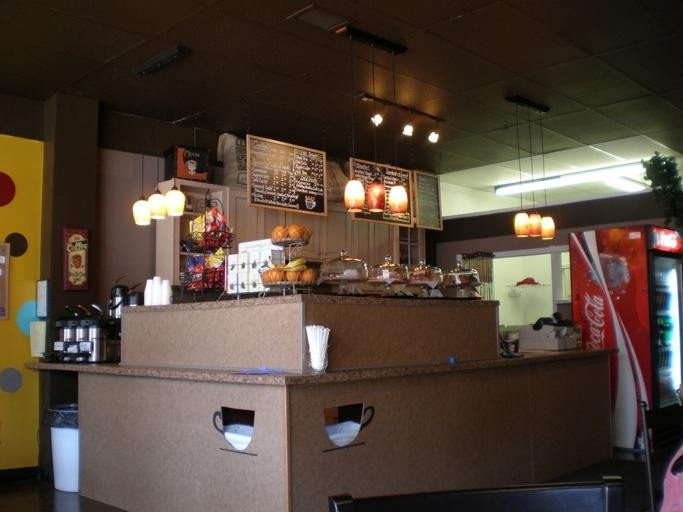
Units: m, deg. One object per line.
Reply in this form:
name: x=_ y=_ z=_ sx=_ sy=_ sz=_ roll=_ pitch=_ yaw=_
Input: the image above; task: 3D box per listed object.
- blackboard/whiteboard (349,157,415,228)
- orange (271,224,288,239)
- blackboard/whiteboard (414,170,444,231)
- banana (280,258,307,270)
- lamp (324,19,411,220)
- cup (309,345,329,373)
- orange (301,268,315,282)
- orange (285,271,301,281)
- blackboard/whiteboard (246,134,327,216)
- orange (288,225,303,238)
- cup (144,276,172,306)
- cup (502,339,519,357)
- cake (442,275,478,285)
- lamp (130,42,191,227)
blackboard/whiteboard: x=0.484 y=-0.757 z=7.295 sx=0.915 sy=0.715 sz=0.019 roll=6 pitch=-12 yaw=-34
orange: x=-0.480 y=-0.185 z=4.794 sx=0.074 sy=0.114 sz=0.195 roll=2 pitch=-4 yaw=-29
blackboard/whiteboard: x=1.130 y=-0.736 z=8.088 sx=0.065 sy=0.926 sz=0.754 roll=-6 pitch=-9 yaw=36
banana: x=-0.350 y=0.054 z=4.569 sx=0.166 sy=0.097 sz=0.194 roll=0 pitch=-4 yaw=-7
lamp: x=0.277 y=-1.405 z=6.344 sx=0.402 sy=1.296 sz=1.344 roll=-5 pitch=-7 yaw=42
cup: x=-0.140 y=0.632 z=3.845 sx=0.135 sy=0.218 sz=0.132 roll=-1 pitch=-4 yaw=0
orange: x=-0.235 y=0.131 z=4.511 sx=0.087 sy=0.069 sz=0.088 roll=-3 pitch=5 yaw=-38
orange: x=-0.345 y=0.141 z=4.467 sx=0.071 sy=0.070 sz=0.073 roll=1 pitch=-6 yaw=-23
blackboard/whiteboard: x=-0.607 y=-0.858 z=6.748 sx=0.901 sy=0.711 sz=0.037 roll=2 pitch=-2 yaw=-38
orange: x=-0.344 y=-0.187 z=4.715 sx=0.091 sy=0.100 sz=0.095 roll=0 pitch=-5 yaw=-17
cup: x=-1.508 y=0.276 z=5.163 sx=0.270 sy=0.221 sz=0.153 roll=-4 pitch=-5 yaw=38
cup: x=1.481 y=0.786 z=5.348 sx=0.139 sy=0.137 sz=0.132 roll=-3 pitch=-8 yaw=0
cake: x=1.175 y=0.223 z=6.049 sx=0.331 sy=0.117 sz=0.442 roll=-1 pitch=-4 yaw=11
lamp: x=-1.638 y=-1.053 z=5.651 sx=0.449 sy=1.463 sz=0.893 roll=1 pitch=-4 yaw=-18
